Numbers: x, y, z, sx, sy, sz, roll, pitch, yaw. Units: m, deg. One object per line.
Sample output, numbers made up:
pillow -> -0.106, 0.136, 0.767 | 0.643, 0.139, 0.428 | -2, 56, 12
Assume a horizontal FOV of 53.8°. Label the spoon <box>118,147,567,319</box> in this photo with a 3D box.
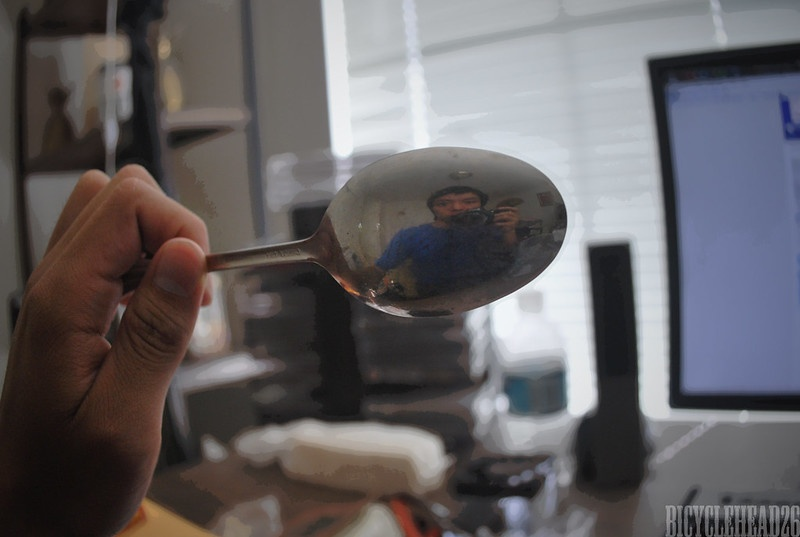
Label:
spoon -> -0.121, -0.006, 1.101 | 0.749, 0.099, 0.238 | -6, -40, 30
